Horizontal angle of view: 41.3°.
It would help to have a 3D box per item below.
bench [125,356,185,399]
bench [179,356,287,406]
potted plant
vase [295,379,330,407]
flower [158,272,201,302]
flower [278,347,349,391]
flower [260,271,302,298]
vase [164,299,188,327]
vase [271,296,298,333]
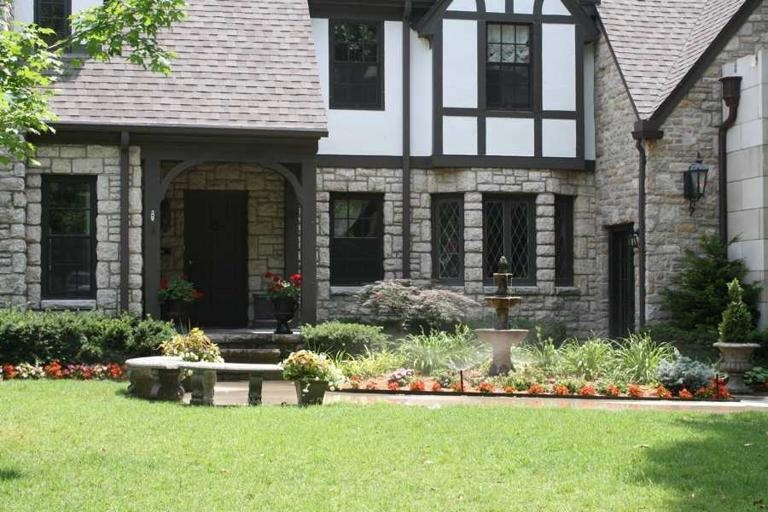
[{"bbox_3d":[-3.592,1.934,15.969,0.930,0.655,0.727,0,-4,-3],"label":"bench"},{"bbox_3d":[-2.494,1.980,16.104,1.403,0.666,1.425,0,-4,-10],"label":"bench"},{"bbox_3d":[6.080,1.382,17.533,0.689,1.900,1.488,-2,-4,18],"label":"potted plant"},{"bbox_3d":[-1.088,2.090,15.567,0.464,0.339,0.392,1,-5,-18],"label":"vase"},{"bbox_3d":[-3.918,0.617,19.372,0.637,0.445,0.584,2,-1,-9],"label":"flower"},{"bbox_3d":[-1.066,1.724,15.615,0.683,0.392,0.678,7,-4,-42],"label":"flower"},{"bbox_3d":[-1.913,0.584,19.260,0.559,0.410,0.608,-2,-3,24],"label":"flower"},{"bbox_3d":[-3.882,1.077,19.521,0.484,0.524,0.485,-4,-6,35],"label":"vase"},{"bbox_3d":[-1.850,1.111,19.362,0.735,0.731,0.591,1,-6,-3],"label":"vase"}]
